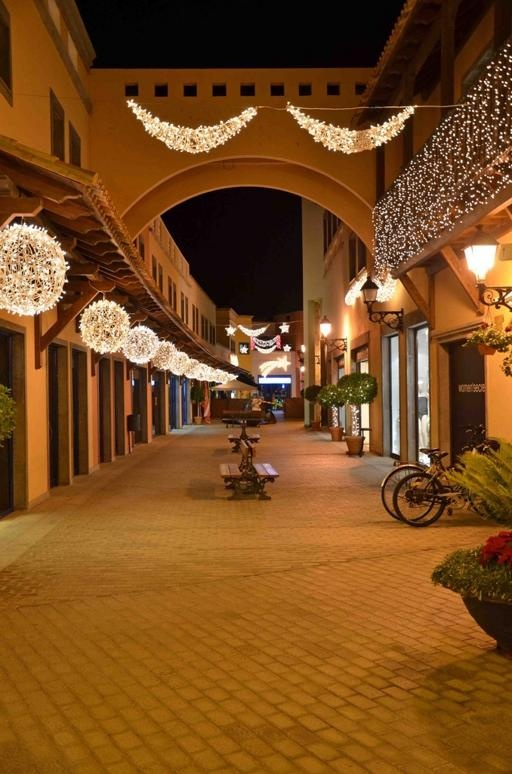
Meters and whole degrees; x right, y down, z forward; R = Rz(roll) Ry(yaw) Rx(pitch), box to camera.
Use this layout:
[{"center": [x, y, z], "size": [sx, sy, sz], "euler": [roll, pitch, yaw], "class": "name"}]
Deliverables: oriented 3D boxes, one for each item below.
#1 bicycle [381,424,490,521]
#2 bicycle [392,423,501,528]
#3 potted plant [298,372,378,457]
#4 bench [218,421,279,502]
[{"center": [2.924, 1.271, 7.918], "size": [2.134, 1.305, 0.926], "euler": [-1, -12, -10], "class": "bicycle"}, {"center": [2.857, 1.350, 8.013], "size": [1.999, 1.229, 0.796], "euler": [4, 0, -30], "class": "bicycle"}, {"center": [3.452, 1.178, 22.511], "size": [2.925, 3.066, 1.945], "euler": [-2, -10, 1], "class": "potted plant"}, {"center": [-0.167, 1.668, 10.899], "size": [1.030, 1.016, 1.481], "euler": [0, -5, -4], "class": "bench"}]
